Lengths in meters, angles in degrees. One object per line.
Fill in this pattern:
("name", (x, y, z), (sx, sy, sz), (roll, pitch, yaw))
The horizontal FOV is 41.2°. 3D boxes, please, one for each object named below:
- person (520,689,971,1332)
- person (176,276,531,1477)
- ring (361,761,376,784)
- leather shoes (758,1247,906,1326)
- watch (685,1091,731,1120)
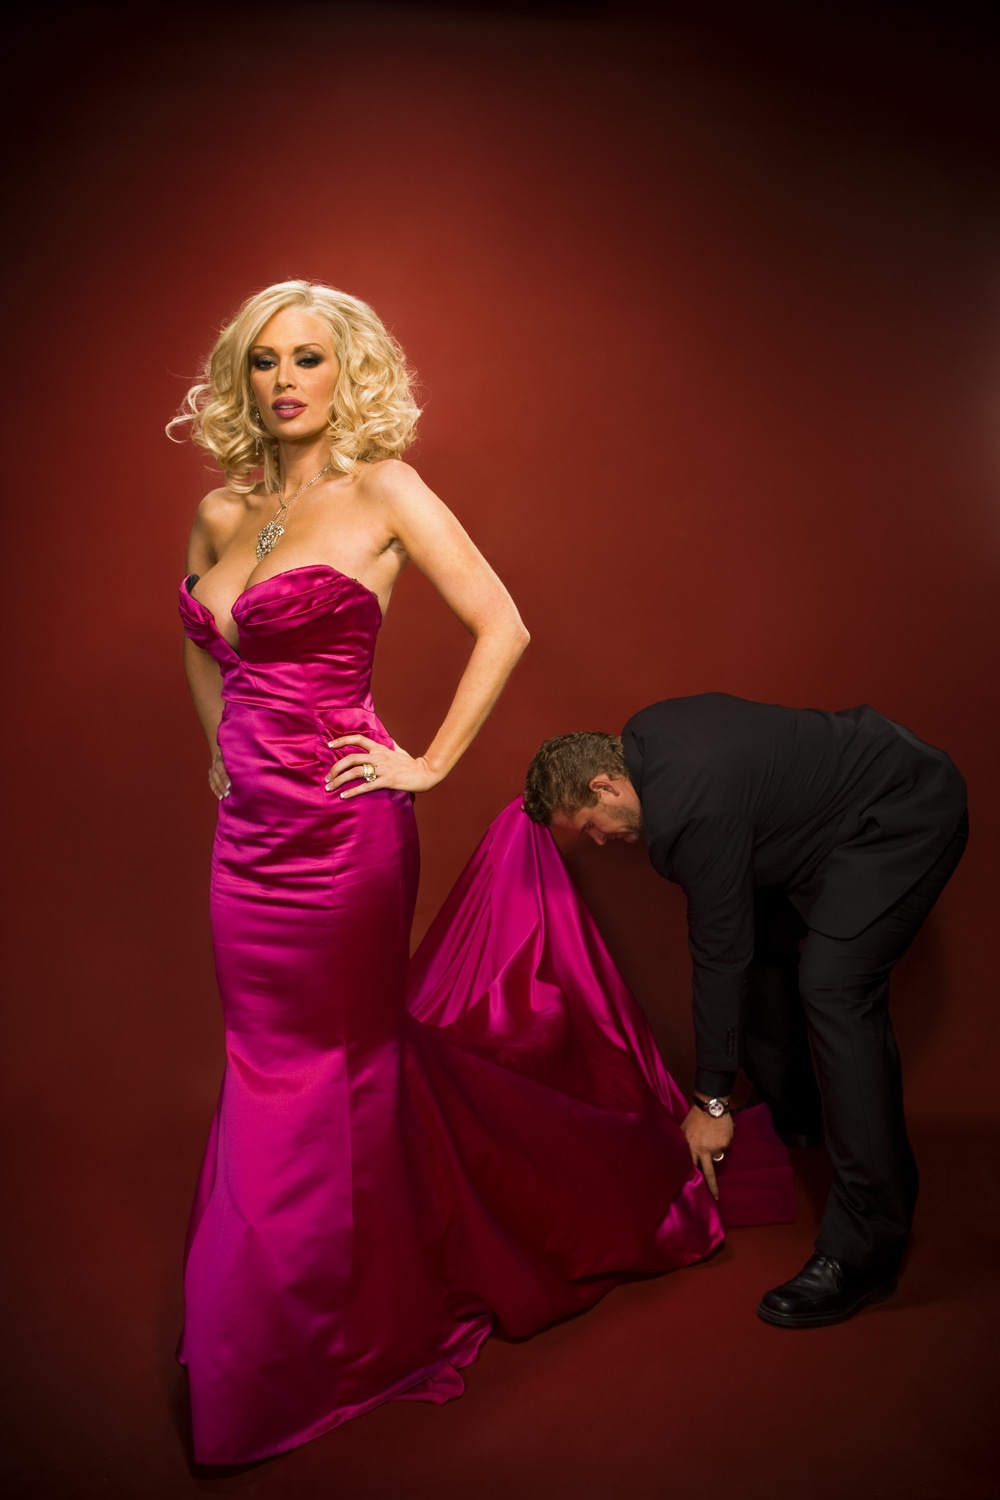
("person", (0.481, 0.477, 2.485), (0.811, 1.156, 0.374), (-3, 12, -5))
("person", (-0.264, 0.144, 2.281), (0.637, 1.879, 0.750), (-2, 12, 0))
("ring", (-0.217, 0.036, 2.190), (0.022, 0.026, 0.012), (1, -1, -25))
("leather shoes", (0.649, 0.996, 2.536), (0.321, 0.125, 0.111), (2, -8, -30))
("watch", (0.402, 0.657, 2.490), (0.056, 0.034, 0.061), (-3, -2, -2))
